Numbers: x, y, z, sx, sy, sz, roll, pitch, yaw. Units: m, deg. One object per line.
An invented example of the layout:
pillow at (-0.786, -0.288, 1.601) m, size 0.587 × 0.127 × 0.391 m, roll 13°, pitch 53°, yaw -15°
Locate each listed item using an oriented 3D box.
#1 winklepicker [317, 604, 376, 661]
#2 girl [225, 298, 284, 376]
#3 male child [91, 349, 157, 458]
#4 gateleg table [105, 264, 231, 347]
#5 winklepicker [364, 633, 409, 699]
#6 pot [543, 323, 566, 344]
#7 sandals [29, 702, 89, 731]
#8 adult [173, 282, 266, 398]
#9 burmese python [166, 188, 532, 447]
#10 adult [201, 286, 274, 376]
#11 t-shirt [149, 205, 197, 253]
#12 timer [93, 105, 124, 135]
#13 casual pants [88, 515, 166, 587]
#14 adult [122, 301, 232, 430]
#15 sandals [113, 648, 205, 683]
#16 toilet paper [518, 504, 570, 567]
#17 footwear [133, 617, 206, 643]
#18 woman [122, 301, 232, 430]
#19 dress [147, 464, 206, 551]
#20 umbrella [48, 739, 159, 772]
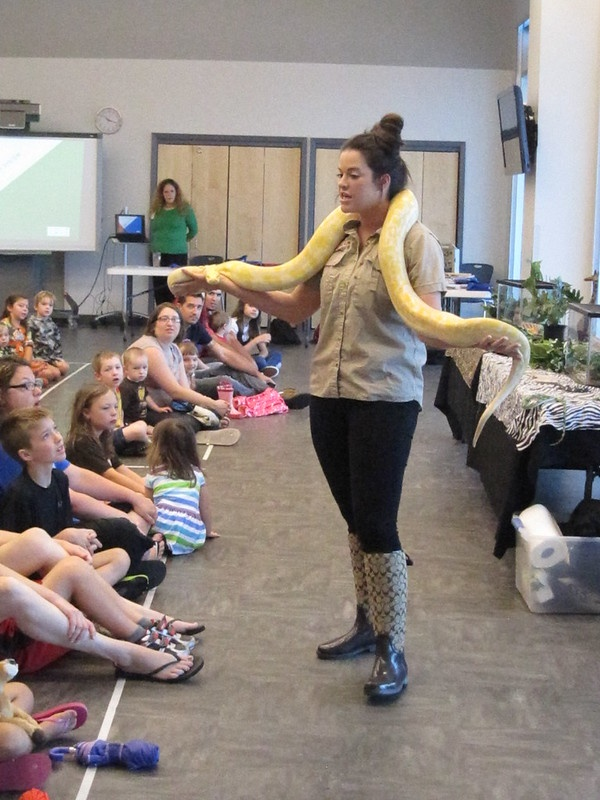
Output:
winklepicker at (0.153, 0.702, 2.214) m, size 0.236 × 0.170 × 0.103 m, roll 0°, pitch 1°, yaw -28°
girl at (-0.496, -0.706, 7.649) m, size 0.665 × 0.817 × 0.531 m, roll 1°, pitch 8°, yaw 19°
male child at (-1.110, 0.017, 4.476) m, size 0.407 × 0.611 × 0.351 m, roll 6°, pitch 12°, yaw 15°
gateleg table at (-2.202, -1.369, 10.529) m, size 1.354 × 0.917 × 1.320 m, roll 11°, pitch 2°, yaw 15°
winklepicker at (0.226, 0.686, 1.904) m, size 0.089 × 0.163 × 0.220 m, roll -6°, pitch -7°, yaw 26°
pot at (1.372, -0.359, 3.885) m, size 0.133 × 0.118 × 0.120 m, roll 3°, pitch 4°, yaw 16°
sandals at (-0.540, 0.733, 1.677) m, size 0.165 × 0.055 × 0.053 m, roll -1°, pitch -34°, yaw -2°
adult at (-0.729, -0.797, 6.359) m, size 0.331 × 0.697 × 0.751 m, roll 4°, pitch 31°, yaw -46°
burmese python at (0.151, -0.247, 1.960) m, size 0.991 × 0.633 × 0.327 m, roll 10°, pitch 11°, yaw 42°
adult at (-0.480, -0.626, 7.286) m, size 0.686 × 0.906 × 0.446 m, roll -7°, pitch -18°, yaw 37°
t-shirt at (-1.933, -2.579, 10.759) m, size 0.850 × 0.749 × 0.471 m, roll 5°, pitch 7°, yaw 15°
timer at (-2.979, -4.322, 11.182) m, size 0.506 × 0.465 × 0.114 m, roll 1°, pitch 5°, yaw -2°
casual pants at (-0.599, 0.537, 2.606) m, size 0.323 × 0.181 × 0.151 m, roll 28°, pitch -14°, yaw -19°
adult at (-0.898, -0.206, 4.984) m, size 0.917 × 0.852 × 0.517 m, roll 3°, pitch 16°, yaw 4°
sandals at (-0.381, 0.735, 1.979) m, size 0.188 × 0.042 × 0.095 m, roll 6°, pitch 10°, yaw -11°
toilet paper at (0.851, 0.478, 2.564) m, size 0.155 × 0.172 × 0.263 m, roll -1°, pitch 19°, yaw 7°
footwear at (-0.382, 0.672, 2.129) m, size 0.142 × 0.036 × 0.098 m, roll 7°, pitch 3°, yaw 12°
woman at (-0.894, -0.212, 4.986) m, size 0.917 × 0.852 × 0.517 m, roll 3°, pitch 16°, yaw 4°
dress at (-0.521, 0.453, 3.030) m, size 0.177 × 0.360 × 0.135 m, roll 1°, pitch -38°, yaw -26°
umbrella at (-0.426, 0.765, 1.609) m, size 0.249 × 0.062 × 0.085 m, roll 1°, pitch -2°, yaw 4°
